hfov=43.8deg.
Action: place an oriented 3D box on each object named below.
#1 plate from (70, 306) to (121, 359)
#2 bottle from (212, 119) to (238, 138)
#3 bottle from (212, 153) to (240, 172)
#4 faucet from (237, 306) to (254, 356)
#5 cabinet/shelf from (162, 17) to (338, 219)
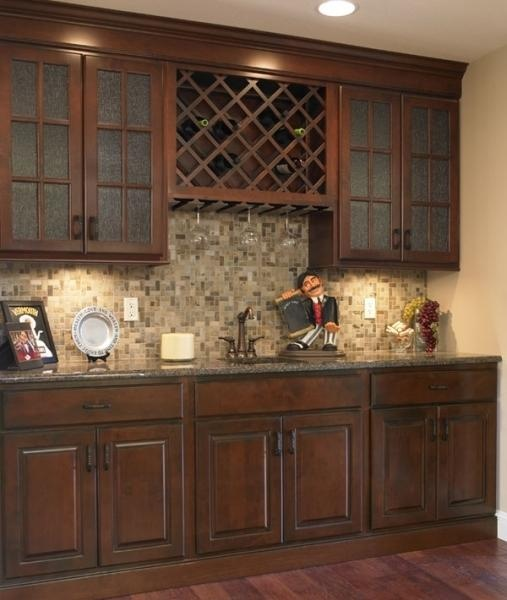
[{"bbox_3d":[-0.734,0.152,2.942,0.219,0.234,0.086,-3,2,-20],"label":"plate"},{"bbox_3d":[-0.137,-0.831,3.065,0.129,0.101,0.132,-2,2,0],"label":"bottle"},{"bbox_3d":[-0.130,-0.664,3.090,0.117,0.096,0.103,-4,8,-6],"label":"bottle"},{"bbox_3d":[-0.047,0.165,3.263,0.093,0.246,0.210,-2,2,-1],"label":"faucet"},{"bbox_3d":[-0.026,-0.898,3.048,0.991,0.798,0.308,-2,3,-22],"label":"cabinet/shelf"}]
